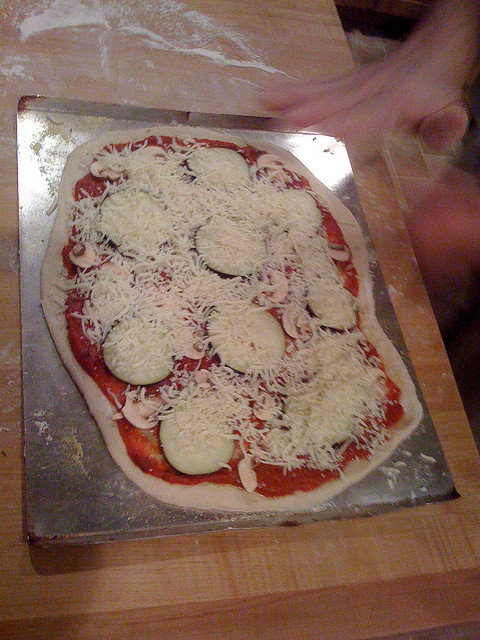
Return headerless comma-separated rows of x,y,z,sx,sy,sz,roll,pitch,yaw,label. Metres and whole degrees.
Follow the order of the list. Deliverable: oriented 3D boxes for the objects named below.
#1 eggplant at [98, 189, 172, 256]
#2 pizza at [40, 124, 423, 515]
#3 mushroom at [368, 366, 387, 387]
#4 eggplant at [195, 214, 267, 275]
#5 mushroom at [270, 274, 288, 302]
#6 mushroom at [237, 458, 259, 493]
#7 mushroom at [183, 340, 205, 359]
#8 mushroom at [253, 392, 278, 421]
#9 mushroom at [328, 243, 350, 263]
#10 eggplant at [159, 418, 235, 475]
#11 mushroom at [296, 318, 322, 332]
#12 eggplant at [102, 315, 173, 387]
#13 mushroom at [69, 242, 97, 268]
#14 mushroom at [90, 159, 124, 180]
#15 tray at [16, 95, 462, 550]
-0.282,-0.251,1.650,0.200,0.031,0.162,11,61,-5,eggplant
-0.106,-0.030,1.690,0.953,0.109,1.025,-5,60,-32,pizza
0.374,0.148,1.717,0.053,0.017,0.052,52,34,9,mushroom
-0.025,-0.199,1.676,0.182,0.025,0.176,43,61,12,eggplant
0.101,-0.084,1.678,0.056,0.016,0.063,0,82,-29,mushroom
0.014,0.368,1.500,0.050,0.015,0.069,-5,67,-33,mushroom
-0.115,0.070,1.554,0.052,0.023,0.046,1,65,-9,mushroom
0.056,0.210,1.545,0.050,0.013,0.067,33,64,7,mushroom
0.279,-0.193,1.861,0.066,0.017,0.058,-15,68,-44,mushroom
-0.107,0.298,1.483,0.181,0.045,0.117,11,64,-4,eggplant
0.181,0.011,1.656,0.052,0.013,0.035,2,53,-6,mushroom
-0.252,0.077,1.529,0.159,0.056,0.171,-11,67,-14,eggplant
-0.401,-0.166,1.614,0.067,0.018,0.060,23,60,-6,mushroom
-0.366,-0.414,1.737,0.084,0.022,0.052,5,67,-4,mushroom
-0.034,0.030,1.641,1.441,0.102,1.381,-7,66,-20,tray
